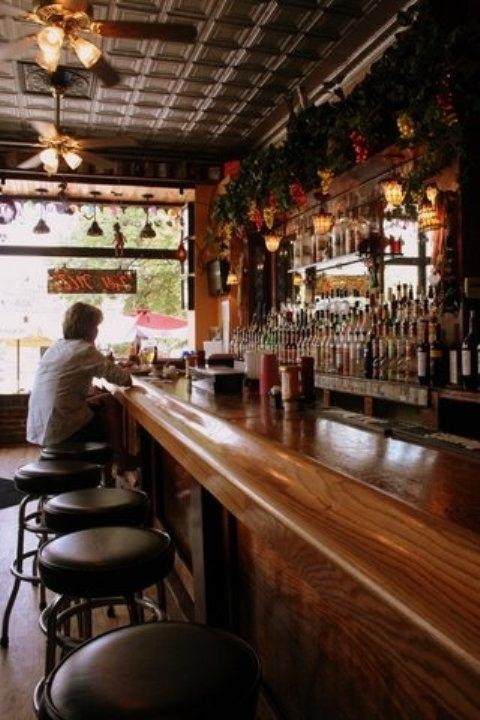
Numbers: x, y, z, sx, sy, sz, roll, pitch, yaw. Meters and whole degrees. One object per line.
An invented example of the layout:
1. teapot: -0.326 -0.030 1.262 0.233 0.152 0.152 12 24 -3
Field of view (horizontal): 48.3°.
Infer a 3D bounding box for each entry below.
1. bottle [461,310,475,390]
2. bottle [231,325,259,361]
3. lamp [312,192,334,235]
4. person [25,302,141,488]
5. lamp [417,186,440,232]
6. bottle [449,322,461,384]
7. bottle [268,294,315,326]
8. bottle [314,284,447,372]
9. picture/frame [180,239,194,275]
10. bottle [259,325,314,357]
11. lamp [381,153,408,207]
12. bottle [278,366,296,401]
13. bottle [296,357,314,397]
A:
1. bottle: 1.051 -0.049 2.469 0.065 0.377 0.262 1 0 23
2. bottle: 0.027 -0.172 5.132 0.282 0.389 0.253 -2 1 -31
3. lamp: 0.609 -1.079 3.933 0.155 0.273 0.469 1 0 9
4. person: -1.039 0.247 3.587 0.486 1.273 0.643 3 2 42
5. lamp: 0.997 -0.808 2.818 0.074 0.244 0.126 1 1 -40
6. bottle: 1.026 -0.040 2.571 0.050 0.341 0.134 1 0 22
7. bottle: 0.495 -0.444 5.148 0.303 0.255 0.467 -1 1 -16
8. bottle: 0.791 -0.136 3.224 0.345 0.498 1.188 1 -1 -9
9. picture/frame: -0.780 -1.564 8.172 0.195 0.476 0.640 1 0 -6
10. bottle: 0.354 -0.148 4.279 0.156 0.246 0.619 -1 6 -11
11. lamp: 0.871 -1.020 3.045 0.121 0.296 0.286 1 0 15
12. bottle: 0.190 0.084 2.131 0.087 0.180 0.113 -1 4 4
13. bottle: 0.278 0.076 2.262 0.060 0.169 0.105 1 0 3
